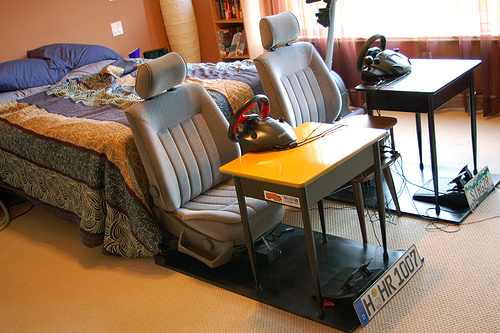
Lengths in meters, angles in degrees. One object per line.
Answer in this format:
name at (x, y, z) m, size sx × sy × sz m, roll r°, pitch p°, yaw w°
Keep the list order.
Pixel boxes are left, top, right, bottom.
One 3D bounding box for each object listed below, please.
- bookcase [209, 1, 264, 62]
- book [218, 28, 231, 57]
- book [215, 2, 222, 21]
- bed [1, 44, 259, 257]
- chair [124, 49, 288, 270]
bookcase at (-0.029, -1.835, 5.611) m, size 0.469 × 1.239 × 0.858 m, roll -25°, pitch 32°, yaw -38°
book at (-0.360, -1.746, 5.615) m, size 0.115 × 0.325 × 0.331 m, roll -6°, pitch 17°, yaw 3°
book at (-0.436, -2.128, 5.502) m, size 0.041 × 0.183 × 0.178 m, roll -7°, pitch 4°, yaw -6°
bed at (-0.969, -0.286, 3.965) m, size 2.052 × 0.645 × 2.092 m, roll 18°, pitch 29°, yaw 31°
chair at (-0.273, -0.097, 2.810) m, size 1.017 × 1.264 × 0.940 m, roll 19°, pitch 35°, yaw 42°
